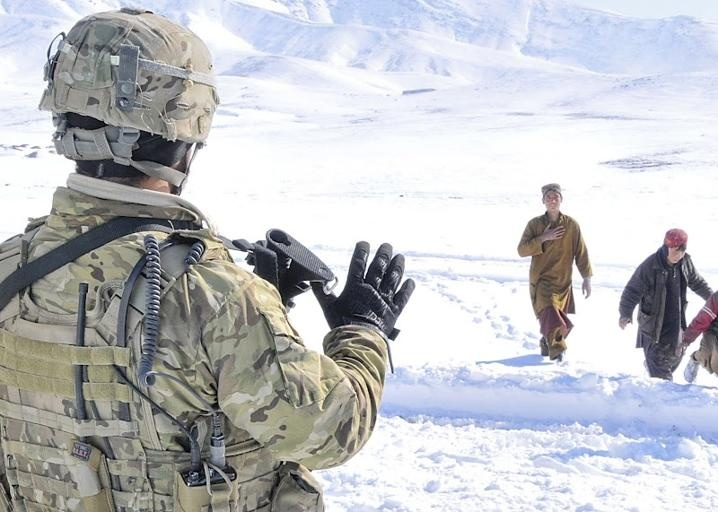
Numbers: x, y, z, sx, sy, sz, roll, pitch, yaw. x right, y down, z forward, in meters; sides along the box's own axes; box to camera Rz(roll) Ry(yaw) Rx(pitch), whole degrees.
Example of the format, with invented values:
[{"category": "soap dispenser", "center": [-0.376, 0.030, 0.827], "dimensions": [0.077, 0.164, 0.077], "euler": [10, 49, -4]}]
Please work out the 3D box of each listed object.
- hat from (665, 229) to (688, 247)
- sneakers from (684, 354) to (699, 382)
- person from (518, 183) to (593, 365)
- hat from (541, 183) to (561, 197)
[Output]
[{"category": "hat", "center": [3.203, -0.181, 9.770], "dimensions": [0.206, 0.157, 0.200], "euler": [0, 1, -18]}, {"category": "sneakers", "center": [3.323, 1.125, 9.701], "dimensions": [0.119, 0.289, 0.134], "euler": [6, 18, -6]}, {"category": "person", "center": [2.189, 0.156, 10.788], "dimensions": [0.837, 1.850, 1.054], "euler": [3, 13, 10]}, {"category": "hat", "center": [2.193, -0.765, 10.998], "dimensions": [0.196, 0.142, 0.213], "euler": [1, 1, 4]}]
